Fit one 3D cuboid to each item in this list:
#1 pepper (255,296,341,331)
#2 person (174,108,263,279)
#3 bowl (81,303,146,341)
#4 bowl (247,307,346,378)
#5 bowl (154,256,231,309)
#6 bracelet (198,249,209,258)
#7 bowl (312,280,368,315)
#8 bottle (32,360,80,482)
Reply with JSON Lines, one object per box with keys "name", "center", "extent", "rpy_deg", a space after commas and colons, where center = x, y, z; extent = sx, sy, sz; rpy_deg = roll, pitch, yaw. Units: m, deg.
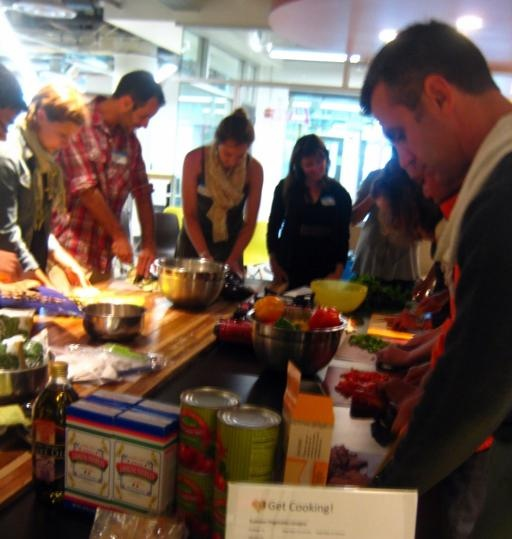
{"name": "pepper", "center": [0.119, 0.131, 1.312], "extent": [0.212, 0.085, 0.102], "rpy_deg": [16, -31, 9]}
{"name": "person", "center": [-0.195, -0.428, 2.782], "extent": [0.500, 0.983, 0.580], "rpy_deg": [3, 10, -10]}
{"name": "bowl", "center": [-0.441, 0.168, 1.469], "extent": [0.185, 0.096, 0.161], "rpy_deg": [3, 11, -12]}
{"name": "bowl", "center": [0.116, 0.216, 1.344], "extent": [0.270, 0.167, 0.262], "rpy_deg": [4, 9, -1]}
{"name": "bowl", "center": [-0.264, 0.073, 1.981], "extent": [0.301, 0.191, 0.319], "rpy_deg": [6, 10, -1]}
{"name": "bracelet", "center": [-0.276, -0.079, 2.522], "extent": [0.027, 0.035, 0.078], "rpy_deg": [0, 6, -15]}
{"name": "bowl", "center": [0.329, 0.098, 1.885], "extent": [0.161, 0.100, 0.170], "rpy_deg": [2, 7, 0]}
{"name": "bottle", "center": [-0.314, 0.247, 0.730], "extent": [0.062, 0.158, 0.064], "rpy_deg": [5, 10, -1]}
